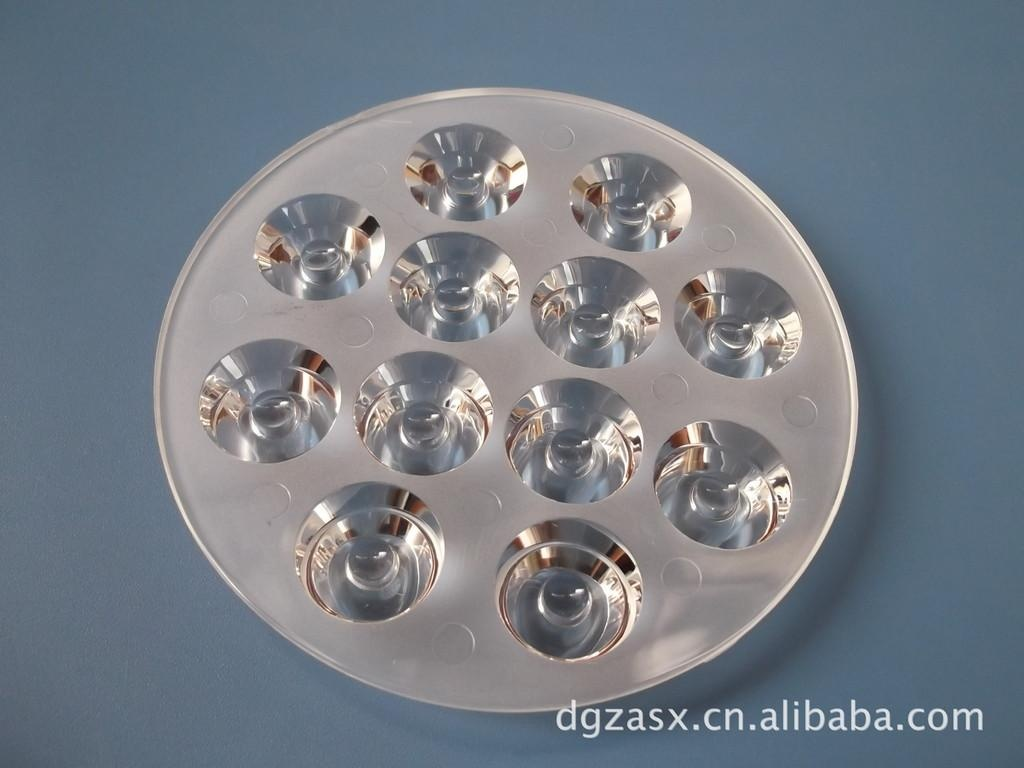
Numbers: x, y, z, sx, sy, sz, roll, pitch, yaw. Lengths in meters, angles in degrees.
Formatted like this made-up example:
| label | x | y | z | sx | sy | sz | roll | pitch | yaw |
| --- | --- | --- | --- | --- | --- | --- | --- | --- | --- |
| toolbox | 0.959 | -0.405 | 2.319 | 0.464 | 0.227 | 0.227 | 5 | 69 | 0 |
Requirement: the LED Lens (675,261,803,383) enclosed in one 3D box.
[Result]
| label | x | y | z | sx | sy | sz | roll | pitch | yaw |
| --- | --- | --- | --- | --- | --- | --- | --- | --- | --- |
| LED Lens | 0.273 | -0.089 | 2.250 | 0.129 | 0.046 | 0.133 | -1 | -23 | 38 |

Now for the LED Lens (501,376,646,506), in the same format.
| label | x | y | z | sx | sy | sz | roll | pitch | yaw |
| --- | --- | --- | --- | --- | --- | --- | --- | --- | --- |
| LED Lens | 0.071 | 0.069 | 2.140 | 0.173 | 0.164 | 0.043 | -46 | -20 | -36 |

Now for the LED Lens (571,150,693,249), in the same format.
| label | x | y | z | sx | sy | sz | roll | pitch | yaw |
| --- | --- | --- | --- | --- | --- | --- | --- | --- | --- |
| LED Lens | 0.138 | -0.231 | 2.298 | 0.141 | 0.048 | 0.152 | 8 | -13 | 7 |

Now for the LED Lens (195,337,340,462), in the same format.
| label | x | y | z | sx | sy | sz | roll | pitch | yaw |
| --- | --- | --- | --- | --- | --- | --- | --- | --- | --- |
| LED Lens | -0.283 | 0.014 | 2.183 | 0.139 | 0.039 | 0.153 | -4 | -33 | -11 |
